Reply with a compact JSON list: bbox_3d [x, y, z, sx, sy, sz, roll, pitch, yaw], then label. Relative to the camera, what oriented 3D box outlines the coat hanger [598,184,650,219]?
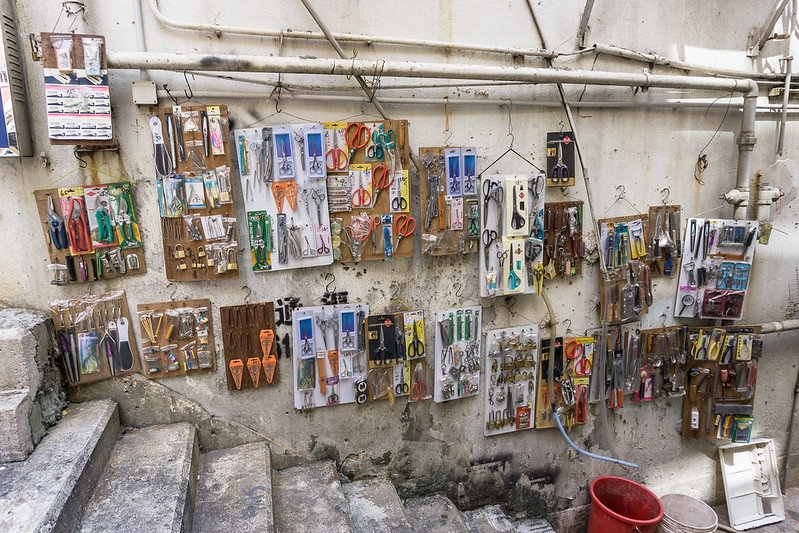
[{"bbox_3d":[2.146,-0.590,6.415,0.570,0.406,0.012,-8,3,-17],"label":"coat hanger"}]

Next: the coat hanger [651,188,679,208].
[{"bbox_3d":[2.592,-0.687,6.511,0.184,0.130,0.026,-7,27,-12],"label":"coat hanger"}]

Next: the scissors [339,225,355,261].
[{"bbox_3d":[-0.470,-0.206,5.851,0.122,0.280,0.109,-7,-3,-6],"label":"scissors"}]

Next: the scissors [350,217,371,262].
[{"bbox_3d":[-0.338,-0.274,5.843,0.198,0.411,0.071,-8,10,-19],"label":"scissors"}]
